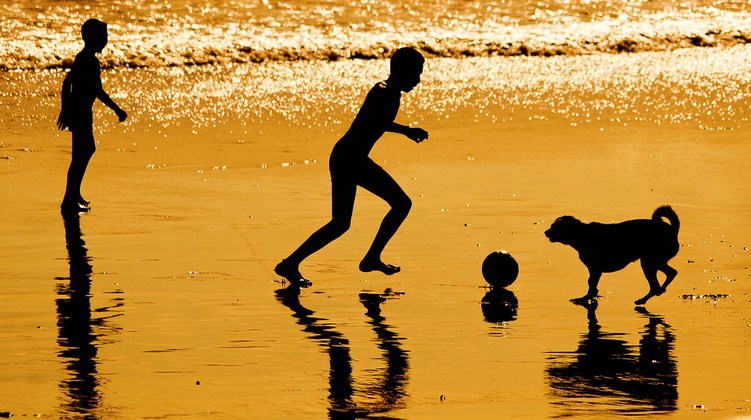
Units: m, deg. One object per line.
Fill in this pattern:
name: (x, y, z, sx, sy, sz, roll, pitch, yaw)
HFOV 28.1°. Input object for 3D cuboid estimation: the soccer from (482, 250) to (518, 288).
soccer: (2.278, 1.127, 27.575, 0.665, 0.642, 0.389, 6, 17, 3)
